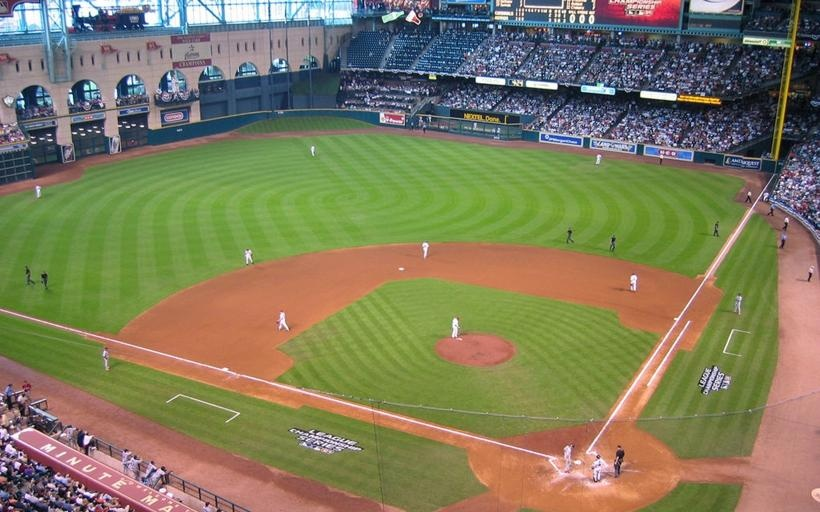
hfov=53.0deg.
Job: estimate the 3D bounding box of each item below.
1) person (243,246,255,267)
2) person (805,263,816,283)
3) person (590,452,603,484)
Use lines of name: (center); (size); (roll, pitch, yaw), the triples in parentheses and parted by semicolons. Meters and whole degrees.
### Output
person: (-14.314, 0.020, 73.339); (0.838, 0.634, 1.863); (9, 8, -6)
person: (35.335, 1.543, 72.451); (0.916, 2.263, 1.043); (-2, 15, 16)
person: (12.238, 13.840, 53.470); (0.773, 1.267, 1.267); (7, 23, 14)
